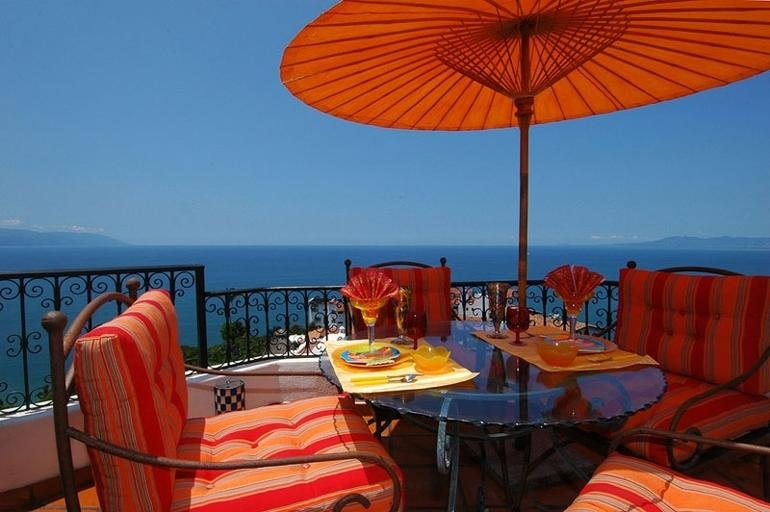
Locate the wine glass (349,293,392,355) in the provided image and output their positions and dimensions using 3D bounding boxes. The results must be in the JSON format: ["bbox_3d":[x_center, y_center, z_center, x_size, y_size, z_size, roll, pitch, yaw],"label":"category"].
[{"bbox_3d":[-0.092,0.418,3.480,0.304,0.356,0.311,-1,-1,-1],"label":"wine glass"}]

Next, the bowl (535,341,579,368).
[{"bbox_3d":[0.988,0.552,3.248,0.160,0.089,0.161,0,-7,0],"label":"bowl"}]

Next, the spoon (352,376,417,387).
[{"bbox_3d":[-0.004,0.681,3.152,0.360,0.055,0.068,-4,0,-6],"label":"spoon"}]

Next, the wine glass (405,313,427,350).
[{"bbox_3d":[0.158,0.449,3.449,0.185,0.298,0.196,1,-8,0],"label":"wine glass"}]
